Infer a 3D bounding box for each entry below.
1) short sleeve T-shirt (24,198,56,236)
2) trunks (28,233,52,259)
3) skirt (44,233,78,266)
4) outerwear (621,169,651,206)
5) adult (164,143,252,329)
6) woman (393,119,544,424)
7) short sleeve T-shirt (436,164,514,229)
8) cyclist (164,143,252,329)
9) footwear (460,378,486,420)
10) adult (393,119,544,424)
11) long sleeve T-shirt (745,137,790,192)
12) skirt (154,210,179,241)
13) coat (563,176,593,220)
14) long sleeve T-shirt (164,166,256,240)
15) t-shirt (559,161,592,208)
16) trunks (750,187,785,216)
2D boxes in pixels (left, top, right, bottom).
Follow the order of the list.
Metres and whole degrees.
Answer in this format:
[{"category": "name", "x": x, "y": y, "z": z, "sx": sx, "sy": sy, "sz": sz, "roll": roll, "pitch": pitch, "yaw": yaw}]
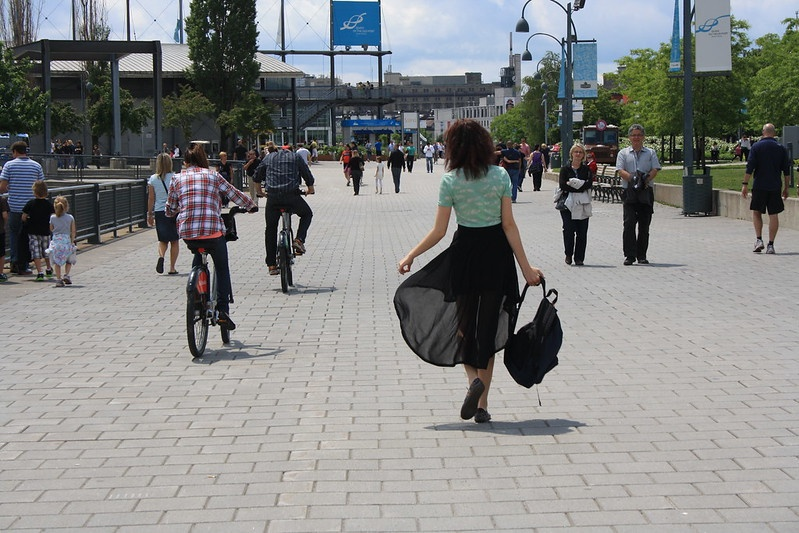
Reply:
[{"category": "short sleeve T-shirt", "x": -5.865, "y": -0.803, "z": 14.039, "sx": 0.595, "sy": 0.681, "sz": 0.384, "roll": 1, "pitch": 4, "yaw": -13}, {"category": "trunks", "x": -5.844, "y": -0.348, "z": 14.041, "sx": 0.210, "sy": 0.633, "sz": 0.327, "roll": -12, "pitch": -10, "yaw": 25}, {"category": "skirt", "x": -5.412, "y": -0.276, "z": 13.715, "sx": 0.530, "sy": 0.537, "sz": 0.286, "roll": 0, "pitch": 8, "yaw": -10}, {"category": "outerwear", "x": 4.027, "y": -1.338, "z": 14.479, "sx": 0.522, "sy": 0.586, "sz": 0.339, "roll": 11, "pitch": 4, "yaw": 30}, {"category": "adult", "x": -2.200, "y": -0.335, "z": 9.754, "sx": 1.029, "sy": 2.066, "sz": 0.982, "roll": -2, "pitch": -5, "yaw": 0}, {"category": "woman", "x": 0.543, "y": 0.056, "z": 6.799, "sx": 1.068, "sy": 2.388, "sz": 0.441, "roll": 0, "pitch": 11, "yaw": 9}, {"category": "short sleeve T-shirt", "x": 0.615, "y": -0.564, "z": 6.822, "sx": 0.621, "sy": 0.447, "sz": 0.317, "roll": -5, "pitch": 8, "yaw": -6}, {"category": "cyclist", "x": -2.154, "y": -0.328, "z": 9.763, "sx": 1.041, "sy": 2.078, "sz": 0.949, "roll": -1, "pitch": -3, "yaw": -14}, {"category": "footwear", "x": 0.579, "y": 1.033, "z": 6.756, "sx": 0.145, "sy": 0.369, "sz": 0.147, "roll": 12, "pitch": 15, "yaw": -33}, {"category": "adult", "x": 0.541, "y": 0.056, "z": 6.800, "sx": 1.060, "sy": 2.388, "sz": 0.441, "roll": 0, "pitch": 11, "yaw": 9}, {"category": "long sleeve T-shirt", "x": 6.580, "y": -1.816, "z": 15.304, "sx": 0.726, "sy": 0.928, "sz": 0.580, "roll": 2, "pitch": 12, "yaw": 18}, {"category": "skirt", "x": -3.635, "y": -0.651, "z": 13.496, "sx": 0.416, "sy": 0.563, "sz": 0.316, "roll": -8, "pitch": 7, "yaw": -7}, {"category": "coat", "x": 3.093, "y": -1.141, "z": 14.609, "sx": 0.515, "sy": 0.656, "sz": 0.281, "roll": 2, "pitch": 3, "yaw": 0}, {"category": "long sleeve T-shirt", "x": -2.114, "y": -0.762, "z": 9.682, "sx": 0.919, "sy": 1.120, "sz": 0.636, "roll": -4, "pitch": -13, "yaw": -13}, {"category": "t-shirt", "x": 3.069, "y": -1.424, "z": 14.958, "sx": 0.534, "sy": 0.701, "sz": 0.414, "roll": 4, "pitch": -4, "yaw": 17}, {"category": "trunks", "x": 6.569, "y": -1.145, "z": 15.462, "sx": 0.705, "sy": 0.670, "sz": 0.395, "roll": 0, "pitch": -6, "yaw": 9}]
